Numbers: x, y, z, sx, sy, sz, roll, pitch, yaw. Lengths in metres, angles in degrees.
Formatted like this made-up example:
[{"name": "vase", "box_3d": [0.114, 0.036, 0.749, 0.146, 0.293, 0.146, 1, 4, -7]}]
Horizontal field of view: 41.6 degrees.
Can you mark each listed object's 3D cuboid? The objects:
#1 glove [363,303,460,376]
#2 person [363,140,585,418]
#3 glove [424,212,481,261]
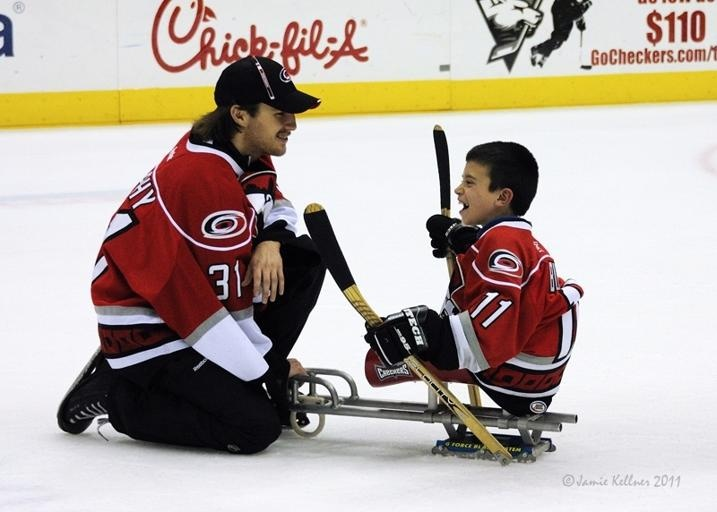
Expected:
[{"name": "glove", "box_3d": [0.186, 0.294, 3.246, 0.316, 0.255, 0.110, -2, 15, 5]}, {"name": "person", "box_3d": [0.377, 0.039, 3.782, 0.999, 1.153, 0.824, 4, 3, 17]}, {"name": "glove", "box_3d": [0.340, -0.069, 3.500, 0.097, 0.121, 0.204, -50, 17, -8]}]
